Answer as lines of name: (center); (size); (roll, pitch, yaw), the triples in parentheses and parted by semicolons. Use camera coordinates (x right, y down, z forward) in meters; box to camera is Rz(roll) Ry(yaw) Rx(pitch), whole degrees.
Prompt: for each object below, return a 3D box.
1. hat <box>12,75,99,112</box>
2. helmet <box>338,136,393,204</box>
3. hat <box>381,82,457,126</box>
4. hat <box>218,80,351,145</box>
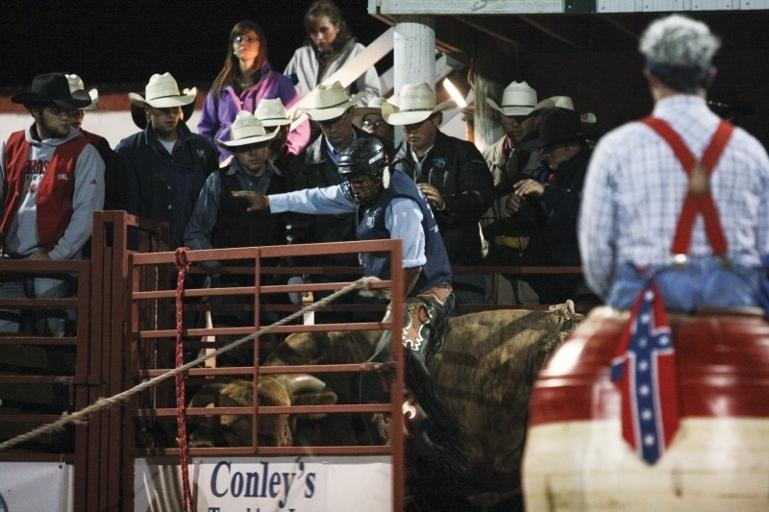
hat: (-3.291, -1.626, 17.651); (0.533, 0.174, 0.476); (-2, 1, 26)
helmet: (-0.183, -0.775, 16.221); (0.477, 0.585, 0.374); (-2, 0, -1)
hat: (0.291, -1.467, 17.183); (0.468, 0.209, 0.499); (-11, 15, 28)
hat: (-0.979, -1.560, 17.403); (1.084, 0.368, 0.679); (-18, 13, 2)
